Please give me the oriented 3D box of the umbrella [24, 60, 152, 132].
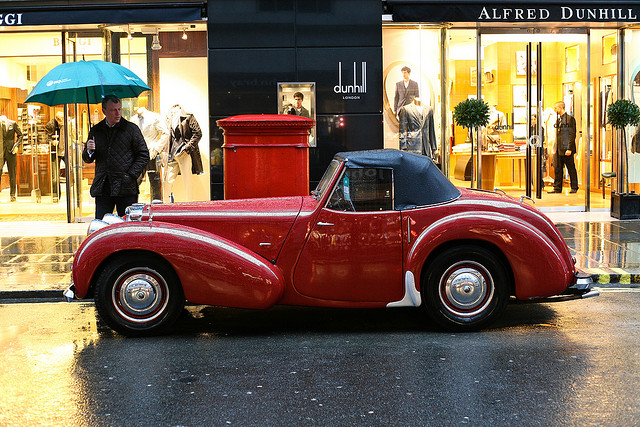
[{"bbox_3d":[-3.379,-1.861,8.989,1.271,0.965,1.415,-5,3,3],"label":"umbrella"}]
